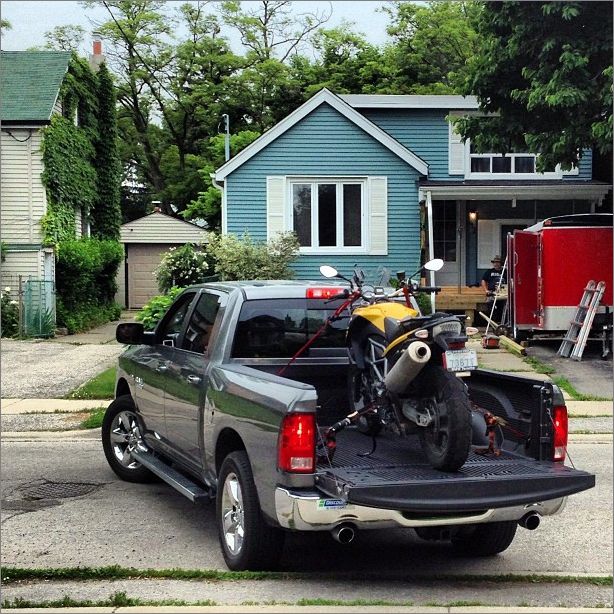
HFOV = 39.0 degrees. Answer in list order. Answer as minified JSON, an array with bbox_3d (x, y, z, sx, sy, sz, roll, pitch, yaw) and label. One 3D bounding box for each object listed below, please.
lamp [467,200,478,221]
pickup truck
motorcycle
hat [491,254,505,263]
[{"bbox_3d":[4.537,-2.622,23.629,0.336,0.582,0.269,1,7,6],"label":"lamp"},{"bbox_3d":[-0.130,0.638,6.423,1.809,1.116,3.716,2,4,-25],"label":"pickup truck"},{"bbox_3d":[0.654,0.320,6.215,0.900,1.169,2.206,-3,7,-16],"label":"motorcycle"},{"bbox_3d":[4.384,-1.111,19.849,0.345,0.121,0.347,0,-2,5],"label":"hat"}]
